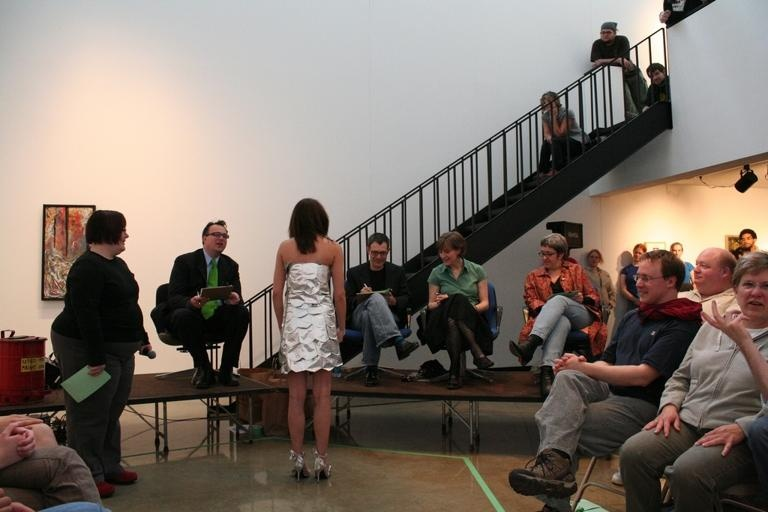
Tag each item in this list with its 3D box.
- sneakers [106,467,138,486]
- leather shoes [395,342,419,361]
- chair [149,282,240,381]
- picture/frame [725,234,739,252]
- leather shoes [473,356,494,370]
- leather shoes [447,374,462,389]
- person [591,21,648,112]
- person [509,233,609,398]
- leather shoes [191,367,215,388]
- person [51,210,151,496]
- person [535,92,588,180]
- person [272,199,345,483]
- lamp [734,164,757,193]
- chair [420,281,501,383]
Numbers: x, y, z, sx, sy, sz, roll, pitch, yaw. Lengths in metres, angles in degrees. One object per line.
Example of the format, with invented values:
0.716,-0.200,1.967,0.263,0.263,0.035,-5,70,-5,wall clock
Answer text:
-2.169,1.834,5.363,0.221,0.102,0.100,1,1,-22,sneakers
0.224,0.946,6.472,0.162,0.177,0.205,0,1,-24,leather shoes
-1.792,0.894,6.632,0.786,1.102,0.992,6,-28,-25,chair
5.044,-0.194,9.384,0.211,0.202,0.023,-11,-16,35,picture/frame
0.939,1.070,6.399,0.121,0.090,0.235,-2,-3,-22,leather shoes
0.698,1.248,6.404,0.151,0.125,0.121,0,1,-2,leather shoes
3.652,-2.844,10.200,0.632,1.631,0.834,9,19,41,person
1.687,0.512,6.431,0.793,1.538,1.329,-10,-7,32,person
-1.758,1.200,6.278,0.113,0.253,0.255,1,-23,-7,leather shoes
-2.281,0.773,5.184,0.691,2.288,0.469,0,1,-29,person
2.432,-1.717,8.888,0.608,1.302,1.135,1,1,14,person
-0.643,0.682,5.480,0.602,2.357,0.420,0,1,-10,person
4.731,-1.030,8.451,0.223,0.303,0.584,1,1,28,lamp
0.909,0.816,6.723,0.770,1.093,0.930,-3,-13,16,chair
